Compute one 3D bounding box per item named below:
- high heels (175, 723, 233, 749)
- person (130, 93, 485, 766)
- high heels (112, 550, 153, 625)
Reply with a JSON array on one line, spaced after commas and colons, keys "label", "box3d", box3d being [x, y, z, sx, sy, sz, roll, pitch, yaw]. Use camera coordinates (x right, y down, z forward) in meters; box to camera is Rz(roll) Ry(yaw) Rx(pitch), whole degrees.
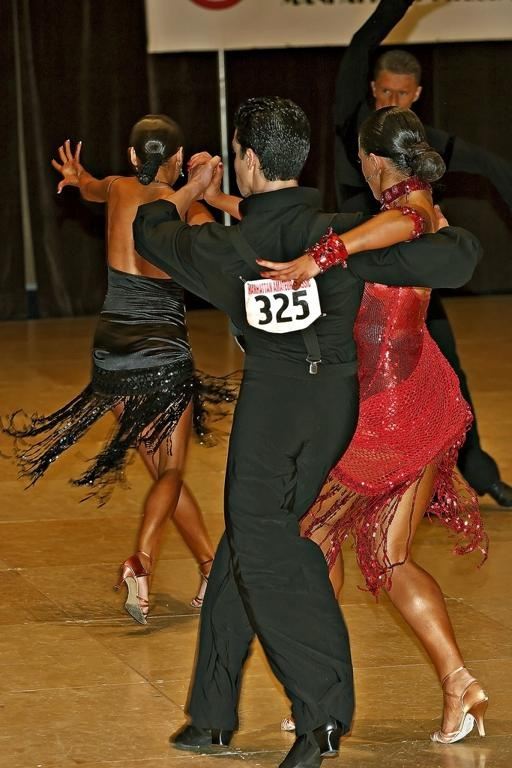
[{"label": "high heels", "box3d": [-0.107, 0.738, 1.504, 0.109, 0.040, 0.051, -3, 3, 4]}, {"label": "person", "box3d": [0.049, 0.116, 1.409, 0.628, 1.323, 0.350, -1, -2, 41]}, {"label": "high heels", "box3d": [-0.386, 0.643, 2.288, 0.098, 0.228, 0.092, -11, 7, 3]}]
